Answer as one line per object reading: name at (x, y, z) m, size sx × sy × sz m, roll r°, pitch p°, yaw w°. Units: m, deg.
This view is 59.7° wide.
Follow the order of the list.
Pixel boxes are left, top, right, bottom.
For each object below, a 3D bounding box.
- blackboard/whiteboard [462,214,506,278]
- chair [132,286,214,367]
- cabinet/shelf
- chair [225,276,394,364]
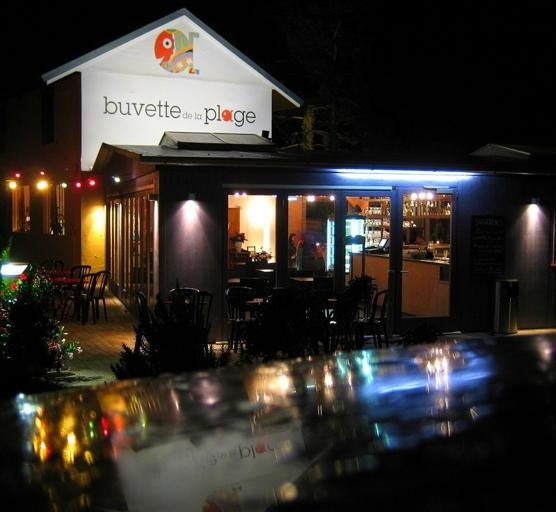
blackboard/whiteboard at (4.374, -0.255, 10.354) m, size 0.982 × 2.224 × 0.206 m, roll 0°, pitch 1°, yaw -7°
chair at (-0.747, 0.513, 3.435) m, size 0.533 × 0.457 × 0.456 m, roll -2°, pitch 0°, yaw -17°
cabinet/shelf at (2.734, -0.763, 10.031) m, size 1.881 × 1.141 × 0.282 m, roll -3°, pitch 0°, yaw -17°
chair at (0.649, 0.814, 5.686) m, size 0.794 × 0.808 × 3.671 m, roll -2°, pitch 0°, yaw 21°
